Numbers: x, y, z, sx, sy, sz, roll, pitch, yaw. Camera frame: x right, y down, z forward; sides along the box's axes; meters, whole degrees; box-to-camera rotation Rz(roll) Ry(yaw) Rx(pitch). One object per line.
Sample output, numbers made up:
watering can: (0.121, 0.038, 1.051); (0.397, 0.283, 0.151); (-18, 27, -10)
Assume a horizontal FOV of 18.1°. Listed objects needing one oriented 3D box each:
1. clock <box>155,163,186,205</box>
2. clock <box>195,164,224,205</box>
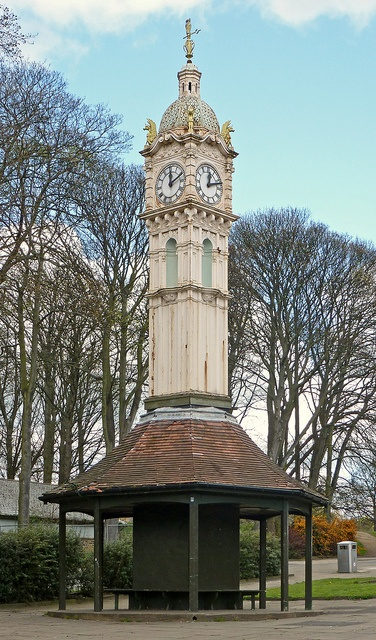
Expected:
clock: (-0.456, -3.530, 30.455); (0.426, 1.000, 1.159); (-7, 4, -32)
clock: (0.527, -3.489, 30.462); (0.065, 0.953, 0.864); (-15, 14, 27)
